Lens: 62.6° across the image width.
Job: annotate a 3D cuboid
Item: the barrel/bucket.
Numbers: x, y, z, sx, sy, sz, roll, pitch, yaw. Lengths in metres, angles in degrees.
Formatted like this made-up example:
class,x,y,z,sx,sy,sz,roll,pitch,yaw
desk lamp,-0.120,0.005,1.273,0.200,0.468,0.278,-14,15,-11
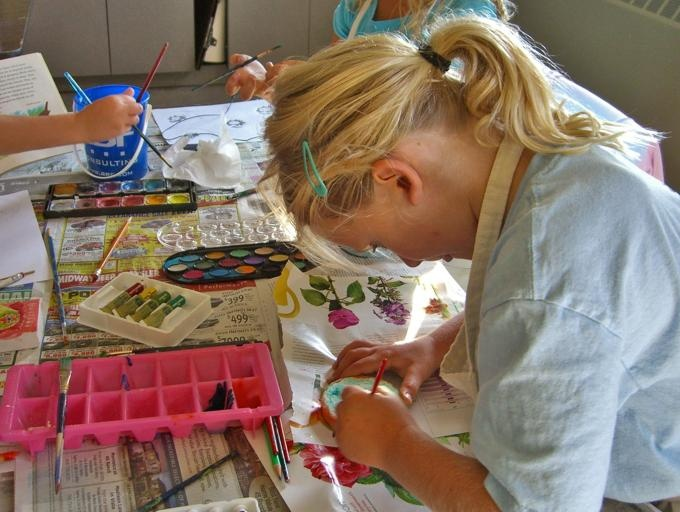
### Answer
class,x,y,z,sx,sy,sz,roll,pitch,yaw
barrel/bucket,-0.636,-0.334,1.545,0.211,0.204,0.159,-32,73,-27

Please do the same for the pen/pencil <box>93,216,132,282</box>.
class,x,y,z,sx,sy,sz,roll,pitch,yaw
pen/pencil,-0.568,-0.024,1.399,0.016,0.016,0.205,26,44,7

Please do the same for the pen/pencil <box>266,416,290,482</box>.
class,x,y,z,sx,sy,sz,roll,pitch,yaw
pen/pencil,-0.112,0.334,0.981,0.023,0.022,0.156,24,22,-24

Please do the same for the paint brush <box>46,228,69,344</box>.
class,x,y,z,sx,sy,sz,roll,pitch,yaw
paint brush,-0.640,0.077,1.265,0.025,0.018,0.315,-12,49,-12
